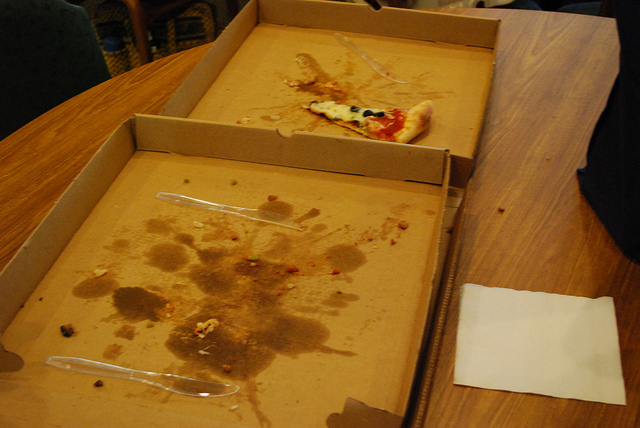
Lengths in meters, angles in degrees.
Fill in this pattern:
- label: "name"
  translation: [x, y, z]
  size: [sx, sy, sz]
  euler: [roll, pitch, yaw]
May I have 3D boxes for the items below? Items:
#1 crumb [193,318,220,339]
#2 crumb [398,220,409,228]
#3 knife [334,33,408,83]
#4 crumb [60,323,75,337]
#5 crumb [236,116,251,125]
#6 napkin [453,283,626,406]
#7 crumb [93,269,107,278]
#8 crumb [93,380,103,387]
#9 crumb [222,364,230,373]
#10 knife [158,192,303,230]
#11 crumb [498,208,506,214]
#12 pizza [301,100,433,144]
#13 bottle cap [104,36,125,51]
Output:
- label: "crumb"
  translation: [-0.206, 0.208, 0.906]
  size: [0.035, 0.008, 0.034]
  euler: [21, 35, 30]
- label: "crumb"
  translation: [0.174, 0.022, 1.030]
  size: [0.015, 0.004, 0.016]
  euler: [-1, 41, 5]
- label: "knife"
  translation: [0.120, -0.474, 1.495]
  size: [0.074, 0.015, 0.404]
  euler: [-29, 45, -20]
- label: "crumb"
  translation: [-0.459, 0.212, 0.903]
  size: [0.022, 0.005, 0.019]
  euler: [7, 52, 4]
- label: "crumb"
  translation: [-0.191, -0.235, 1.252]
  size: [0.040, 0.010, 0.037]
  euler: [1, 36, 3]
- label: "napkin"
  translation: [0.391, 0.228, 0.900]
  size: [0.295, 0.047, 0.201]
  euler: [3, 46, 8]
- label: "crumb"
  translation: [-0.432, 0.118, 0.970]
  size: [0.018, 0.004, 0.015]
  euler: [-24, 58, -12]
- label: "crumb"
  translation: [-0.377, 0.289, 0.847]
  size: [0.014, 0.002, 0.011]
  euler: [-17, 47, -13]
- label: "crumb"
  translation: [-0.162, 0.269, 0.864]
  size: [0.012, 0.003, 0.011]
  euler: [2, 47, 7]
- label: "knife"
  translation: [-0.191, -0.002, 1.065]
  size: [0.264, 0.010, 0.036]
  euler: [11, 57, 11]
- label: "crumb"
  translation: [0.392, -0.008, 1.076]
  size: [0.016, 0.003, 0.013]
  euler: [-30, 50, -23]
- label: "pizza"
  translation: [0.124, -0.233, 1.233]
  size: [0.287, 0.046, 0.128]
  euler: [13, 51, 13]
- label: "bottle cap"
  translation: [-0.969, -0.803, 2.343]
  size: [0.080, 0.055, 0.073]
  euler: [19, 51, 4]
